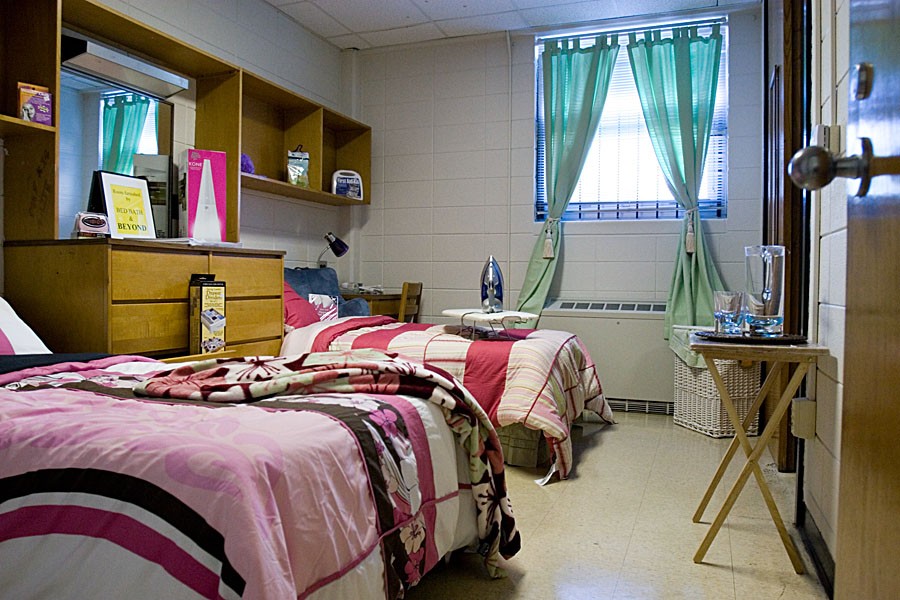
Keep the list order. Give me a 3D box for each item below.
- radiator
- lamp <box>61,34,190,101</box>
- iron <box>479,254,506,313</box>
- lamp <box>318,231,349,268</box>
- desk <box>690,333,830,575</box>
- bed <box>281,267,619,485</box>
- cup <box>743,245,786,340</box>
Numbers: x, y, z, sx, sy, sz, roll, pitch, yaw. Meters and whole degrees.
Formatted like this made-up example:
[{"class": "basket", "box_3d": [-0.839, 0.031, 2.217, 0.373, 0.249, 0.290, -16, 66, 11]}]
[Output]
[{"class": "radiator", "box_3d": [1.341, 0.358, 5.038, 1.137, 0.908, 0.617, 0, 22, 4]}, {"class": "lamp", "box_3d": [-1.935, -1.371, 3.530, 0.110, 0.116, 0.680, -22, -9, 22]}, {"class": "iron", "box_3d": [0.278, -0.090, 3.991, 0.134, 0.423, 0.141, 0, 1, 3]}, {"class": "lamp", "box_3d": [-1.063, -0.457, 5.484, 0.285, 0.290, 0.462, -1, 6, -8]}, {"class": "desk", "box_3d": [1.433, 0.732, 2.760, 0.527, 0.944, 0.929, 0, 0, 13]}, {"class": "bed", "box_3d": [-0.090, 0.384, 3.706, 1.631, 0.782, 1.129, 2, 4, 16]}, {"class": "cup", "box_3d": [1.297, -0.036, 2.479, 0.149, 0.362, 0.155, 0, 6, 0]}]
